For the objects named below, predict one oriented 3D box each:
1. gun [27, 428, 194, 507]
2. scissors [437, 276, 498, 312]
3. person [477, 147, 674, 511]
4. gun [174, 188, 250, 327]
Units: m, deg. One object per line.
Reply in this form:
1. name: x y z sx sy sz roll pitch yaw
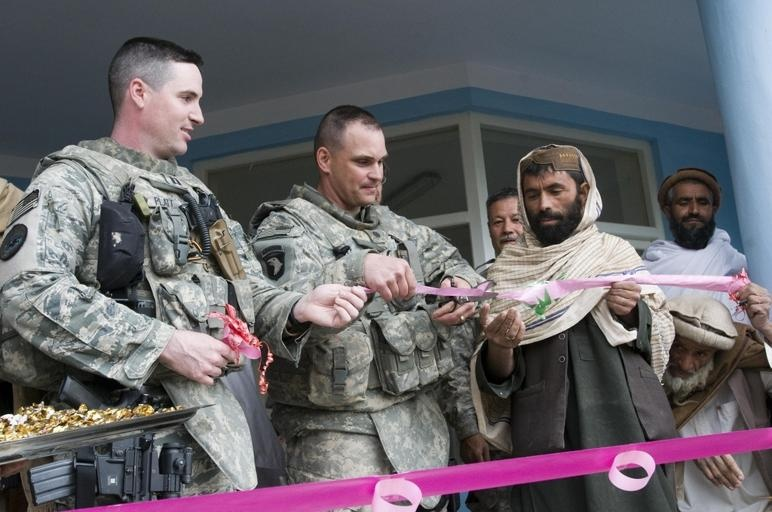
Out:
1. gun: -1.062 0.834 2.718 0.575 0.257 0.153 2 -17 -23
2. scissors: 0.422 0.197 3.655 0.336 0.148 0.210 0 4 -4
3. person: 0.958 0.344 3.824 1.091 2.047 0.644 -10 -16 19
4. gun: -0.784 -0.010 3.260 0.278 0.627 0.261 5 7 30
